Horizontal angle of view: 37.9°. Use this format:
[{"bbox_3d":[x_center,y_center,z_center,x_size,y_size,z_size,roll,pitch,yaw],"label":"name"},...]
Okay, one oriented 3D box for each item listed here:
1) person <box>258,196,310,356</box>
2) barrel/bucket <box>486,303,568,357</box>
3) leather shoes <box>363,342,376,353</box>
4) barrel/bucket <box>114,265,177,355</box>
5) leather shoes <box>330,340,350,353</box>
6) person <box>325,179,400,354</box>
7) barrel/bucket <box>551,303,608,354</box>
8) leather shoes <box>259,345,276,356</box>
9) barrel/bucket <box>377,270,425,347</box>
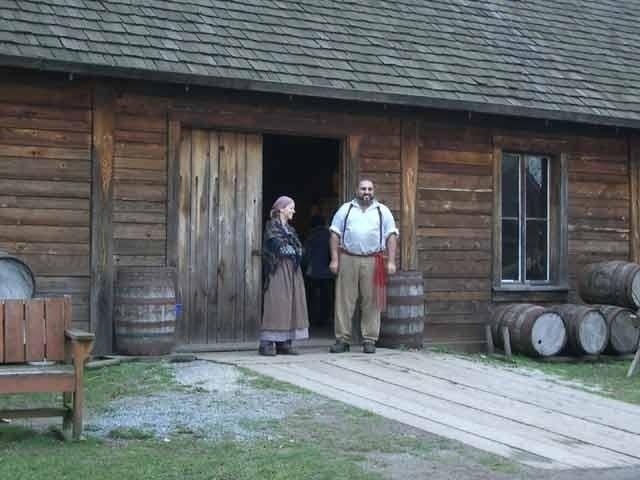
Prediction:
[{"bbox_3d":[-0.432,0.423,10.910,0.567,1.787,0.519,-1,10,-17],"label":"person"},{"bbox_3d":[2.561,1.113,11.758,0.658,0.727,0.913,23,-8,-36],"label":"barrel/bucket"},{"bbox_3d":[0.588,1.278,11.047,0.152,0.141,0.220,3,10,1],"label":"leather shoes"},{"bbox_3d":[-1.959,0.828,10.913,0.826,1.180,0.812,0,-3,0],"label":"barrel/bucket"},{"bbox_3d":[0.237,1.292,11.184,0.098,0.121,0.264,-5,-11,38],"label":"leather shoes"},{"bbox_3d":[0.501,0.315,11.116,0.795,2.055,0.580,3,9,2],"label":"person"},{"bbox_3d":[3.275,1.158,11.891,0.574,0.675,0.811,9,-1,-29],"label":"barrel/bucket"},{"bbox_3d":[-0.604,1.279,10.821,0.082,0.112,0.245,3,-9,-29],"label":"leather shoes"},{"bbox_3d":[1.026,0.868,11.602,0.546,0.860,0.551,1,-2,0],"label":"barrel/bucket"}]
